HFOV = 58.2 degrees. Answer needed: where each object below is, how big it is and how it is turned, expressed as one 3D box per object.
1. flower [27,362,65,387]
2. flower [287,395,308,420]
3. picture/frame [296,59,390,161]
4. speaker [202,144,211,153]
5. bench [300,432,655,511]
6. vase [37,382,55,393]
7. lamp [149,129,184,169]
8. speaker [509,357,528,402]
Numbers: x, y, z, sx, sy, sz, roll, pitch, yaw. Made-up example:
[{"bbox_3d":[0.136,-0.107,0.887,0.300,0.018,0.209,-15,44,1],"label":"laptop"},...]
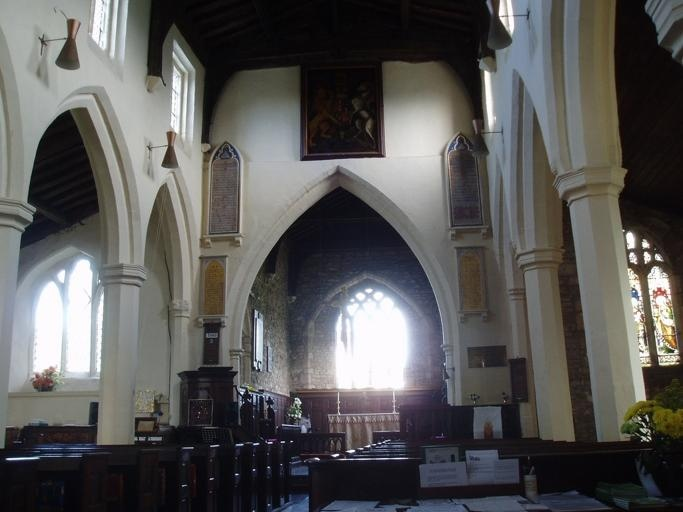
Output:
[{"bbox_3d":[-6.003,2.460,12.589,0.454,0.367,0.466,4,2,-17],"label":"flower"},{"bbox_3d":[-1.199,4.231,17.059,0.475,0.705,0.438,-16,-22,35],"label":"flower"},{"bbox_3d":[0.063,-2.919,12.659,1.841,2.289,0.155,-1,-9,4],"label":"picture/frame"},{"bbox_3d":[-2.720,-2.182,12.454,0.124,0.154,0.164,-8,-17,25],"label":"speaker"},{"bbox_3d":[0.969,1.679,4.877,2.425,0.397,1.546,-3,-16,-3],"label":"bench"},{"bbox_3d":[-5.961,2.673,12.451,0.317,0.161,0.276,4,-17,-26],"label":"vase"},{"bbox_3d":[-2.801,-1.638,9.497,0.235,0.524,0.649,8,11,31],"label":"lamp"},{"bbox_3d":[3.226,2.238,11.072,0.315,0.788,0.203,-7,-15,17],"label":"speaker"}]
